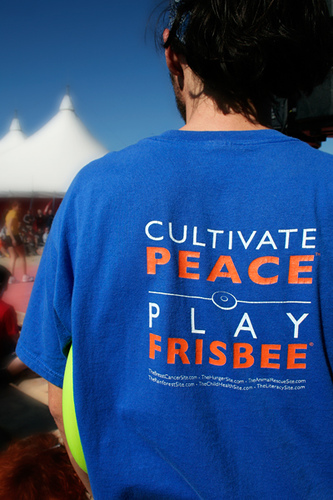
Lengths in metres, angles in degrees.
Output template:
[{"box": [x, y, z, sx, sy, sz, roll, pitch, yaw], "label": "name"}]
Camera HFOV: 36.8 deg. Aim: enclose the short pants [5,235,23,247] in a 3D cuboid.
[{"box": [-2.897, -0.196, 9.531, 0.324, 0.266, 0.207, 0, 9, -8], "label": "short pants"}]
